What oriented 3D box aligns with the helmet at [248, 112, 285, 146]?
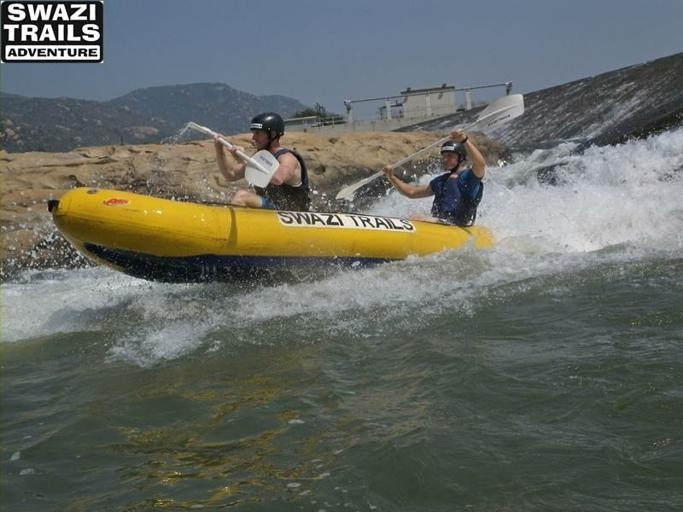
[{"bbox_3d":[-0.826,-1.521,8.451,0.538,0.320,0.380,-5,11,-28],"label":"helmet"}]
